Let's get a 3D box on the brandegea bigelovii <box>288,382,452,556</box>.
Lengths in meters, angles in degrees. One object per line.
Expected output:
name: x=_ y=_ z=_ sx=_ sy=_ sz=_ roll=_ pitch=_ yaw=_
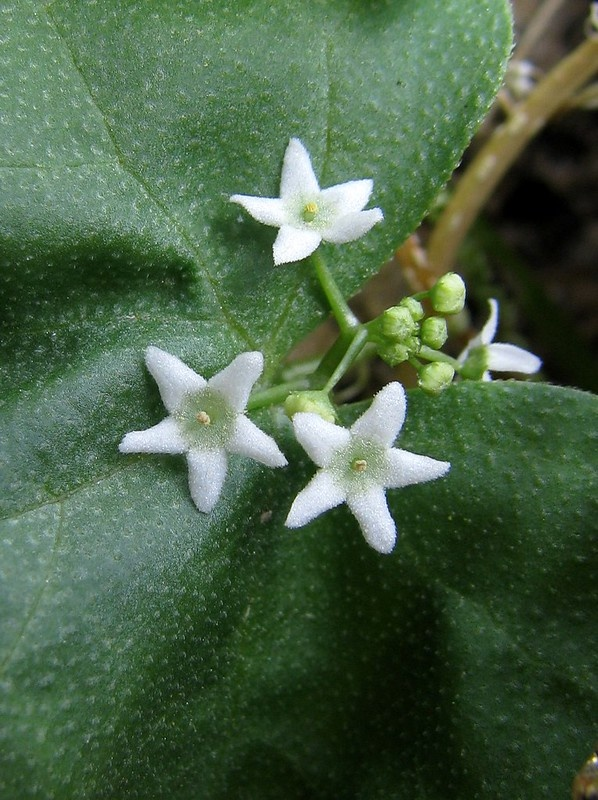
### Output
brandegea bigelovii: x=0.051 y=0.042 z=0.690 sx=0.163 sy=0.032 sz=0.125 roll=12 pitch=94 yaw=-15

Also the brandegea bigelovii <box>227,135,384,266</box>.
brandegea bigelovii: x=0.004 y=-0.162 z=0.730 sx=0.122 sy=0.041 sz=0.108 roll=19 pitch=77 yaw=8

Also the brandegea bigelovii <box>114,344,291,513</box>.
brandegea bigelovii: x=-0.079 y=0.021 z=0.708 sx=0.142 sy=0.132 sz=0.087 roll=27 pitch=53 yaw=-11
